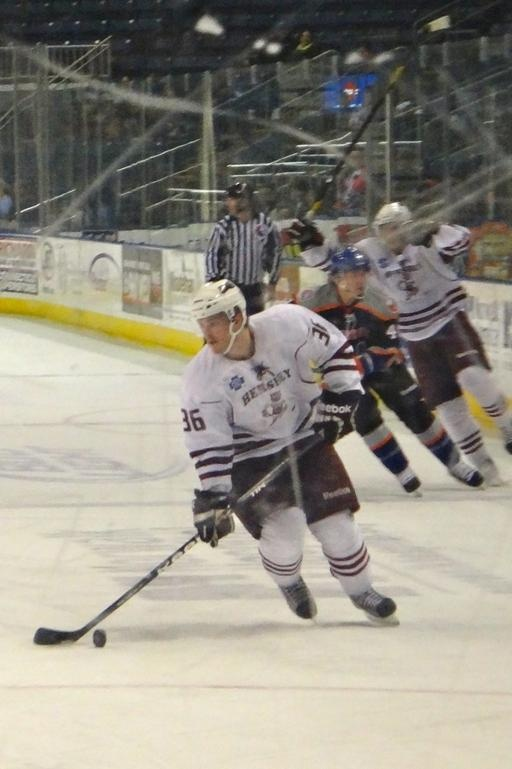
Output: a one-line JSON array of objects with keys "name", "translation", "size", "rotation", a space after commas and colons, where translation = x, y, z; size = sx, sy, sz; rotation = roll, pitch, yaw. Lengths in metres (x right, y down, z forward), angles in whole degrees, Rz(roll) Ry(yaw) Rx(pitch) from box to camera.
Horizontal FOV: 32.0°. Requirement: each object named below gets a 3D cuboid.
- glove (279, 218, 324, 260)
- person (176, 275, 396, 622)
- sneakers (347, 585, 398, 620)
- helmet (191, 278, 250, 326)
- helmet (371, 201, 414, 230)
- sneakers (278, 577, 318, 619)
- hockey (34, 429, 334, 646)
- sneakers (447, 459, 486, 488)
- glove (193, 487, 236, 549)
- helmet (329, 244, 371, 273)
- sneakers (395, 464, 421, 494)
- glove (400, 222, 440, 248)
[{"name": "glove", "translation": [0.182, -0.510, 3.237], "size": [0.140, 0.166, 0.078], "rotation": [19, 28, 30]}, {"name": "person", "translation": [0.088, 0.166, 2.088], "size": [0.480, 0.819, 0.290], "rotation": [0, 10, 6]}, {"name": "sneakers", "translation": [0.271, 0.516, 2.123], "size": [0.056, 0.054, 0.135], "rotation": [-16, 7, -31]}, {"name": "helmet", "translation": [-0.079, -0.179, 2.001], "size": [0.120, 0.102, 0.087], "rotation": [2, -23, -34]}, {"name": "helmet", "translation": [0.500, -0.631, 3.252], "size": [0.109, 0.085, 0.143], "rotation": [-7, -3, -2]}, {"name": "sneakers", "translation": [0.094, 0.494, 2.124], "size": [0.047, 0.055, 0.137], "rotation": [-40, 24, 3]}, {"name": "hockey", "translation": [-0.199, 0.437, 2.430], "size": [0.678, 0.077, 0.138], "rotation": [-36, 13, -9]}, {"name": "sneakers", "translation": [0.759, 0.328, 3.238], "size": [0.062, 0.074, 0.175], "rotation": [-53, -2, -2]}, {"name": "glove", "translation": [-0.089, 0.297, 2.014], "size": [0.090, 0.122, 0.137], "rotation": [-13, 14, 9]}, {"name": "helmet", "translation": [0.288, -0.377, 2.804], "size": [0.112, 0.092, 0.081], "rotation": [17, -12, 23]}, {"name": "sneakers", "translation": [0.547, 0.352, 3.246], "size": [0.067, 0.121, 0.082], "rotation": [-29, 20, 16]}, {"name": "glove", "translation": [0.598, -0.556, 3.261], "size": [0.129, 0.046, 0.098], "rotation": [16, 37, 35]}]
